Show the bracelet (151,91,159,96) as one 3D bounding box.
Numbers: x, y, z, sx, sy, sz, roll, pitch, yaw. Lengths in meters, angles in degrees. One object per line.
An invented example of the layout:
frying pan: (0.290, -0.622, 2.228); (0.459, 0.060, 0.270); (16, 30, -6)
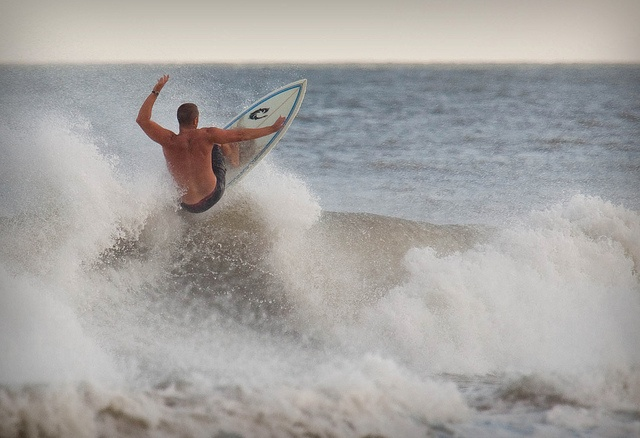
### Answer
bracelet: (-2.234, -1.707, 12.269); (0.079, 0.083, 0.050); (-1, 36, 0)

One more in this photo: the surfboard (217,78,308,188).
surfboard: (-1.028, -1.253, 13.229); (0.585, 2.352, 0.215); (27, 57, -18)
